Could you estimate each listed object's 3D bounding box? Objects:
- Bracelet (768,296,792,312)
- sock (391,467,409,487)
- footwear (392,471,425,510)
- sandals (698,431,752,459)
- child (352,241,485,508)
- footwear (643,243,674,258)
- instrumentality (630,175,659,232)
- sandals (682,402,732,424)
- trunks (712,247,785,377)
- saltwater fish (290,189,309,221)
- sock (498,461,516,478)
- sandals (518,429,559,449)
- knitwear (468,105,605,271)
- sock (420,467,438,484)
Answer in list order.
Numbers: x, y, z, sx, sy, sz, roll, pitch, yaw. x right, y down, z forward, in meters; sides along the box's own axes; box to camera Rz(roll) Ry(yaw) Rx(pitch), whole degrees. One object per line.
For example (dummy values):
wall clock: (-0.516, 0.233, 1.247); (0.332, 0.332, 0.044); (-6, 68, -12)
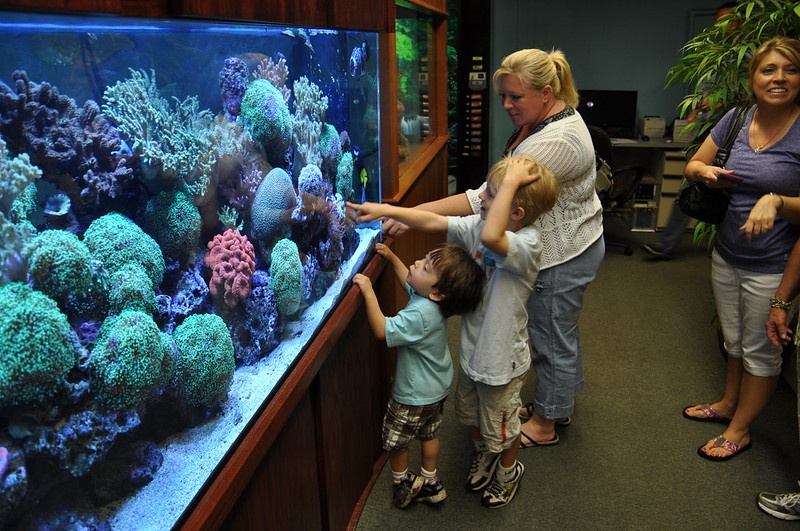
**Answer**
Bracelet: (1.576, 0.158, 2.209); (0.056, 0.037, 0.061); (-7, 17, -36)
sock: (-0.004, 0.863, 2.219); (0.073, 0.077, 0.060); (-12, 10, -9)
footwear: (0.016, 0.952, 2.295); (0.105, 0.233, 0.085); (32, 44, 7)
sandals: (1.509, 0.852, 2.510); (0.246, 0.068, 0.103); (-10, 30, 0)
child: (0.046, 0.461, 2.122); (0.468, 1.068, 0.428); (10, 12, 35)
footwear: (2.299, -0.128, 4.764); (0.248, 0.119, 0.102); (25, 2, 1)
instrumentality: (2.525, -0.582, 5.440); (0.240, 0.481, 0.375); (4, 2, 41)
sandals: (1.586, 0.756, 2.760); (0.169, 0.058, 0.093); (5, 14, 24)
trunks: (1.570, 0.190, 2.389); (0.210, 0.682, 0.298); (-21, 36, 8)
saltwater fish: (-0.278, -0.163, 1.499); (0.020, 0.068, 0.044); (-7, -5, 34)
sock: (0.445, 0.852, 2.233); (0.055, 0.060, 0.075); (1, 2, 13)
sandals: (0.669, 0.855, 2.651); (0.251, 0.074, 0.102); (1, 8, -8)
knitwear: (0.646, -0.269, 2.298); (0.367, 0.395, 0.433); (-14, 56, -21)
sock: (0.123, 0.867, 2.215); (0.094, 0.072, 0.038); (-4, 16, 7)
